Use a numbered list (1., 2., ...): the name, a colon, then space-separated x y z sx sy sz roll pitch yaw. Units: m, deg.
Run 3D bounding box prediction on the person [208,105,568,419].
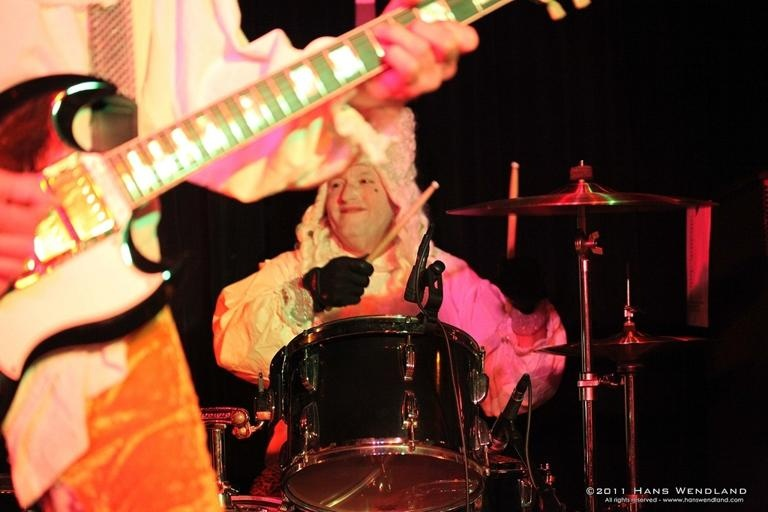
1. person: -0.051 0.050 3.953 1.587 1.445 1.039 4 -24 -14
